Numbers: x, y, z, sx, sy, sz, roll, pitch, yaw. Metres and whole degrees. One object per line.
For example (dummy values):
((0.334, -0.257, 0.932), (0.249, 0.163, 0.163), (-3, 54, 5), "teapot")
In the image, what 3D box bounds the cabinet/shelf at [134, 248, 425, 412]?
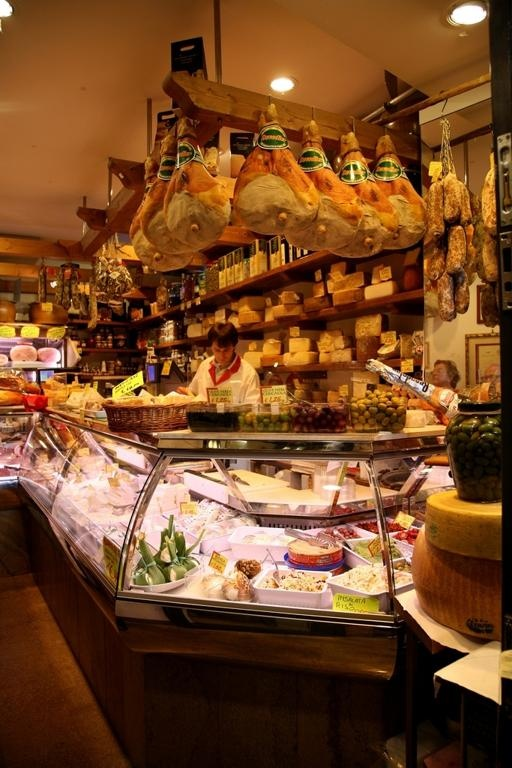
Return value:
((0.185, -0.428, 3.914), (0.234, 0.372, 1.594), (3, -3, -28), "cabinet/shelf")

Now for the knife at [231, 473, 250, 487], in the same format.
((-0.076, 0.419, 2.458), (0.032, 0.046, 0.142), (-6, 15, -24), "knife")

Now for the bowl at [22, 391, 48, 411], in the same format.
((-1.552, 0.116, 3.859), (0.129, 0.086, 0.129), (3, 0, 0), "bowl")

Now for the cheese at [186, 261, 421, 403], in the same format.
((0.355, -0.382, 3.856), (0.267, 0.503, 1.289), (4, -5, -29), "cheese")

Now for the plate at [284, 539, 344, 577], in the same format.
((0.206, 0.602, 1.968), (0.196, 0.089, 0.143), (2, 4, -10), "plate")

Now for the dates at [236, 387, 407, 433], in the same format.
((0.209, 0.091, 1.799), (0.527, 0.126, 0.144), (0, 5, 19), "dates")

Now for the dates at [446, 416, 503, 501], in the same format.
((0.499, 0.170, 1.269), (0.115, 0.204, 0.087), (-1, 4, 21), "dates")

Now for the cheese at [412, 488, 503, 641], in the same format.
((0.432, 0.387, 1.205), (0.162, 0.287, 0.175), (0, 6, -12), "cheese")

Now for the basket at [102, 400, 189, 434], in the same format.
((-0.406, 0.099, 2.035), (0.190, 0.118, 0.259), (-3, 6, -36), "basket")
